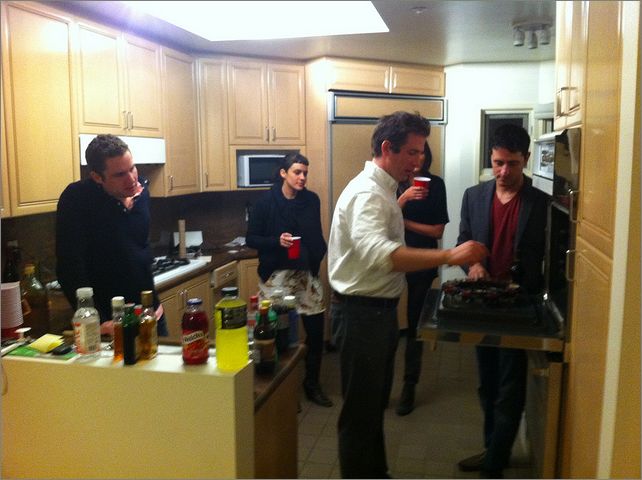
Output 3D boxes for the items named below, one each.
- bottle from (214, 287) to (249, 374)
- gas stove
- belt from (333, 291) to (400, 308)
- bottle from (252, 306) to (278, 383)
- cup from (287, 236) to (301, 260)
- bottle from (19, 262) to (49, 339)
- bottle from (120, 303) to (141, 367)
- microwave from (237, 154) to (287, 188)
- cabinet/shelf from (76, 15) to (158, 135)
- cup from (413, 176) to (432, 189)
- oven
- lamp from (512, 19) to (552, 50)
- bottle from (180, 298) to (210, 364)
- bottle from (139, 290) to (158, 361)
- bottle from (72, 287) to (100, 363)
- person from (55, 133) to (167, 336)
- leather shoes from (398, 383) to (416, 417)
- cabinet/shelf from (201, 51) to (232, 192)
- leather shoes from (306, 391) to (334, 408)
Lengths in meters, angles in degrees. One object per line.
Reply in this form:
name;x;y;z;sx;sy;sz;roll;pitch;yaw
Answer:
bottle;-0.312;0.292;1.649;0.111;0.256;0.182;-2;10;-10
gas stove;-1.296;0.196;3.602;0.699;0.148;0.747;10;12;4
belt;0.226;0.289;2.288;0.285;0.077;0.074;-1;10;1
bottle;-0.206;0.371;1.872;0.064;0.286;0.131;4;11;28
cup;-0.184;0.056;3.315;0.136;0.144;0.124;-1;0;0
bottle;-1.304;0.266;2.174;0.103;0.327;0.124;-6;11;-29
bottle;-0.649;0.322;1.632;0.061;0.209;0.030;-5;10;-23
microwave;-0.538;-0.636;4.310;0.498;0.339;0.309;-2;10;-24
cabinet/shelf;-1.482;-1.051;3.299;0.331;0.713;0.898;4;11;12
cup;0.634;-0.365;2.985;0.090;0.055;0.089;3;14;-1
oven;0.788;-0.049;2.466;0.660;0.822;1.316;4;8;24
lamp;1.533;-1.507;3.477;0.259;0.146;0.312;4;11;24
bottle;-0.436;0.309;1.642;0.091;0.224;0.087;-1;9;0
bottle;-0.609;0.286;1.698;0.052;0.247;0.117;-1;9;-2
bottle;-0.832;0.289;1.689;0.081;0.250;0.125;-4;10;-20
person;-1.112;-0.070;2.499;0.534;0.946;0.293;-9;12;-40
leather shoes;0.601;1.123;3.348;0.087;0.161;0.241;-1;-3;20
cabinet/shelf;-0.873;-1.015;4.265;0.095;1.246;0.316;-2;15;-24
leather shoes;-0.010;1.140;3.468;0.218;0.092;0.074;-1;2;41
